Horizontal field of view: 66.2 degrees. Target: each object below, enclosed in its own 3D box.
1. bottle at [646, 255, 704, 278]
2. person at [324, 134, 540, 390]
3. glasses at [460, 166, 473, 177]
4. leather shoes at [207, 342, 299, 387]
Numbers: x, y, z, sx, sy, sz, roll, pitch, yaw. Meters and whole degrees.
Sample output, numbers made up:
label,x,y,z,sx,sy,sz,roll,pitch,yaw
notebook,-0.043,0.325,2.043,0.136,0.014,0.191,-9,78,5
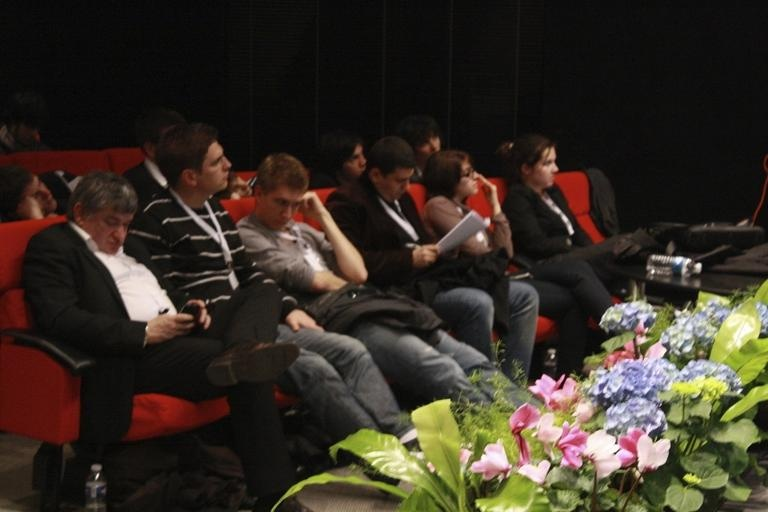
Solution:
label,x,y,z,sx,sy,sz,roll,pitch,yaw
bottle,1.672,0.068,3.427,0.284,0.116,0.147,7,-22,45
person,0.270,0.071,3.812,1.435,1.818,0.898,-5,-4,24
glasses,0.467,-0.469,3.305,0.047,0.023,0.060,-40,7,-9
leather shoes,-0.497,0.405,2.289,0.333,0.130,0.166,-8,2,1
